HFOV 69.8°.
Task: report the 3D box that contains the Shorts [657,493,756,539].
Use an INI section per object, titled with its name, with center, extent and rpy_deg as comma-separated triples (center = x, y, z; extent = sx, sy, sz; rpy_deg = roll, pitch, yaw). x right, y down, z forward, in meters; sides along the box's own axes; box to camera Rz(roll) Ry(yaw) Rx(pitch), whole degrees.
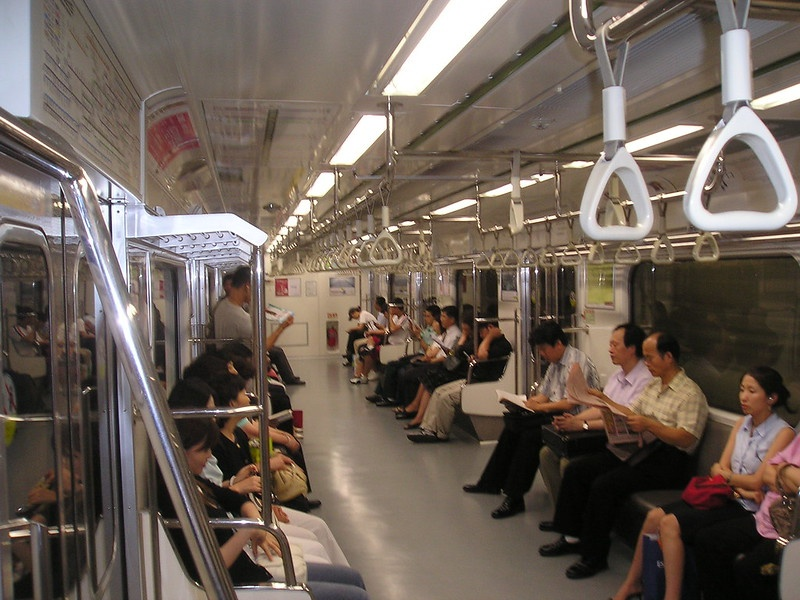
[Shorts]
center = 2.018, 1.444, 3.745
extent = 0.533, 0.230, 0.355
rpy_deg = 0, 3, 18

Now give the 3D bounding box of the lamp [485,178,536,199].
[lamp]
center = 0.993, -1.010, 5.133
extent = 0.081, 0.050, 0.485
rpy_deg = -25, 4, -20

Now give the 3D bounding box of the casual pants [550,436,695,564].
[casual pants]
center = 1.805, 1.581, 5.127
extent = 1.033, 1.435, 0.814
rpy_deg = 9, -2, -8

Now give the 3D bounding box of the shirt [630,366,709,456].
[shirt]
center = 2.191, 0.913, 4.618
extent = 0.312, 0.564, 0.610
rpy_deg = 8, 6, -6
